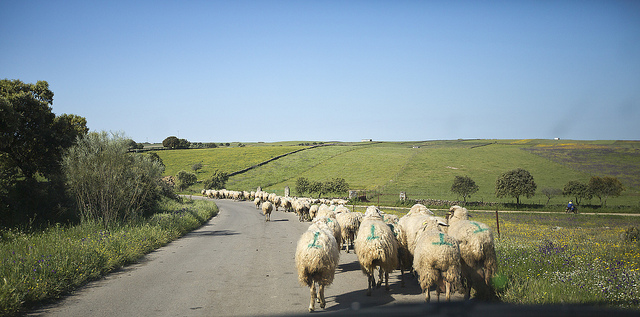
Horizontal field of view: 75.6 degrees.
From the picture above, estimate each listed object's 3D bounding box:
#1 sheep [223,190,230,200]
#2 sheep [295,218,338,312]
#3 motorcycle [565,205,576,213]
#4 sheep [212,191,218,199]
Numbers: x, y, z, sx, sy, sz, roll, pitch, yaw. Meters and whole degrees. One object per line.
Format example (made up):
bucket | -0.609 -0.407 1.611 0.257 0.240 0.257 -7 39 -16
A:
sheep | -21.342 8.102 95.027 0.903 1.779 2.915 1 0 -24
sheep | -0.152 6.697 30.744 2.231 3.457 6.301 -1 2 1
motorcycle | 41.108 8.192 68.212 1.414 1.129 1.754 1 0 29
sheep | -25.207 8.375 99.707 1.039 1.518 1.514 1 0 -11
